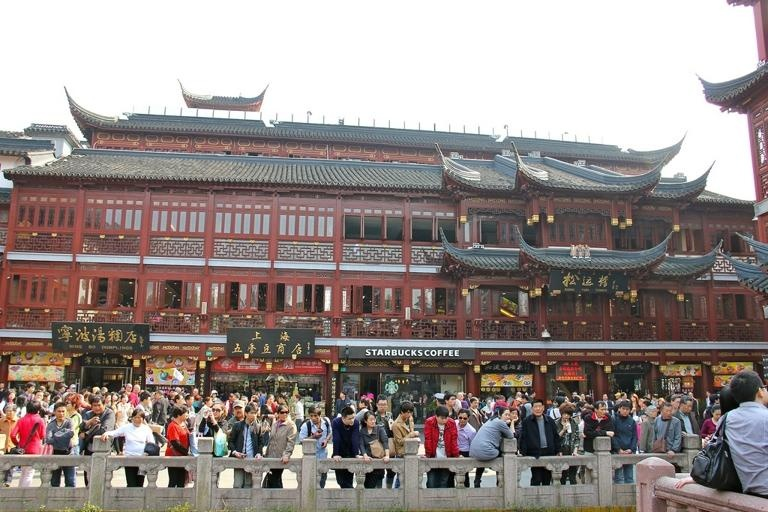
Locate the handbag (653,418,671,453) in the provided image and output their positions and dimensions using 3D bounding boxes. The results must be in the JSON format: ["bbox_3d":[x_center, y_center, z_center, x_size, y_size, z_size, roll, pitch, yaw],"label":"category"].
[{"bbox_3d":[8.693,5.724,26.522,0.330,0.915,0.595,18,-22,-32],"label":"handbag"}]

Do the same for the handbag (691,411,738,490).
[{"bbox_3d":[8.301,5.030,21.261,1.066,1.850,0.600,-8,-18,23],"label":"handbag"}]

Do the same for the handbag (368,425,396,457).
[{"bbox_3d":[-0.093,5.731,25.847,0.412,0.922,0.939,-28,-25,28],"label":"handbag"}]
